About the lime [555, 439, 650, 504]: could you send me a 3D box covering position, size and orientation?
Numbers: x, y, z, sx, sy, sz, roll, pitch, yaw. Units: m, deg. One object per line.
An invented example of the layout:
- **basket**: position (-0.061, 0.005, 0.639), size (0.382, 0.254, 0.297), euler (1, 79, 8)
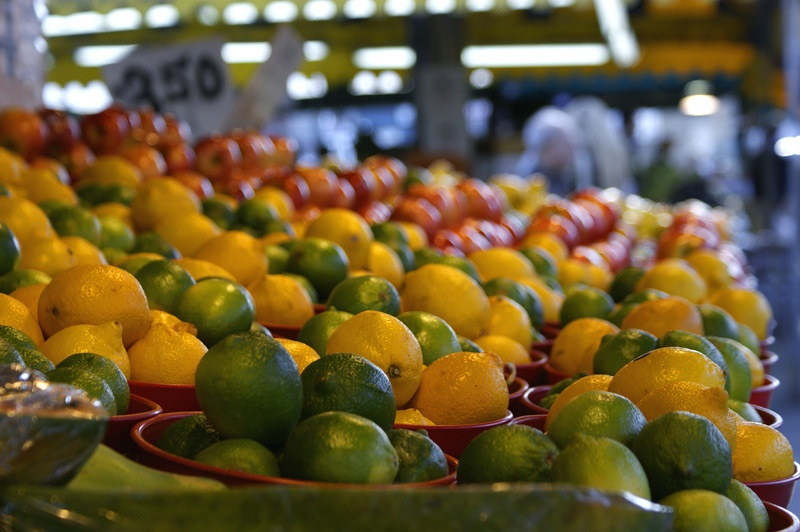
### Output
- **lime**: position (0.316, 0.318, 1.213), size (0.112, 0.143, 0.114), euler (4, -11, 8)
